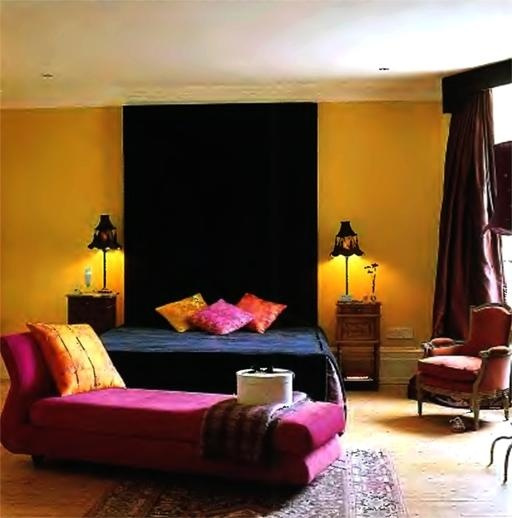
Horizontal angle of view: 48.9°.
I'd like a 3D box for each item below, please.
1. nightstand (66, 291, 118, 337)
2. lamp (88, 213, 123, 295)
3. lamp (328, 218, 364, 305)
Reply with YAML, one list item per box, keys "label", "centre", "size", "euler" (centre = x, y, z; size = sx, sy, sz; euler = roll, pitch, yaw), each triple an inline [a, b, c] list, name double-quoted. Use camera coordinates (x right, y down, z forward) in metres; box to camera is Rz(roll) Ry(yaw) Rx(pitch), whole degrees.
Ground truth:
- label: "nightstand"
  centre: [-1.539, 0.525, 5.650]
  size: [0.442, 0.595, 0.390]
  euler: [0, -3, 3]
- label: "lamp"
  centre: [-1.542, -0.070, 5.779]
  size: [0.317, 0.805, 0.422]
  euler: [0, -1, -15]
- label: "lamp"
  centre: [0.916, 0.003, 5.628]
  size: [0.326, 0.818, 0.332]
  euler: [0, -1, 9]
